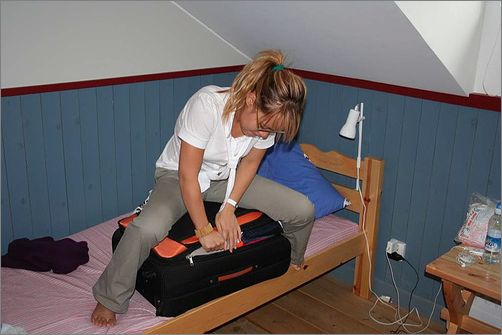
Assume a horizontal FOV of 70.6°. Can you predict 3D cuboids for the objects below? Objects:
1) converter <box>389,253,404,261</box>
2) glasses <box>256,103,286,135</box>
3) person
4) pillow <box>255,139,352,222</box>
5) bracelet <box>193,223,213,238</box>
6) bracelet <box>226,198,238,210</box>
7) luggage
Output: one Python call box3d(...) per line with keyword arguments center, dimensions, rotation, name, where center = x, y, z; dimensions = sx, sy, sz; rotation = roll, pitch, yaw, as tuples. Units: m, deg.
box3d(center=(1.123, 0.709, 2.747), dimensions=(0.080, 0.024, 0.080), rotation=(23, -33, -5), name="converter")
box3d(center=(0.093, -0.242, 1.810), dimensions=(0.112, 0.159, 0.100), rotation=(-7, -13, -31), name="glasses")
box3d(center=(-0.214, 0.055, 2.017), dimensions=(1.277, 1.427, 0.508), rotation=(0, 13, -15), name="person")
box3d(center=(0.406, 0.132, 2.855), dimensions=(0.574, 0.664, 0.196), rotation=(-35, -2, -23), name="pillow")
box3d(center=(-0.259, 0.347, 1.936), dimensions=(0.076, 0.042, 0.070), rotation=(-35, 7, 1), name="bracelet")
box3d(center=(-0.111, 0.215, 2.110), dimensions=(0.058, 0.019, 0.046), rotation=(30, -4, 32), name="bracelet")
box3d(center=(-0.193, 0.533, 1.974), dimensions=(0.794, 0.395, 0.616), rotation=(-16, 27, -36), name="luggage")
